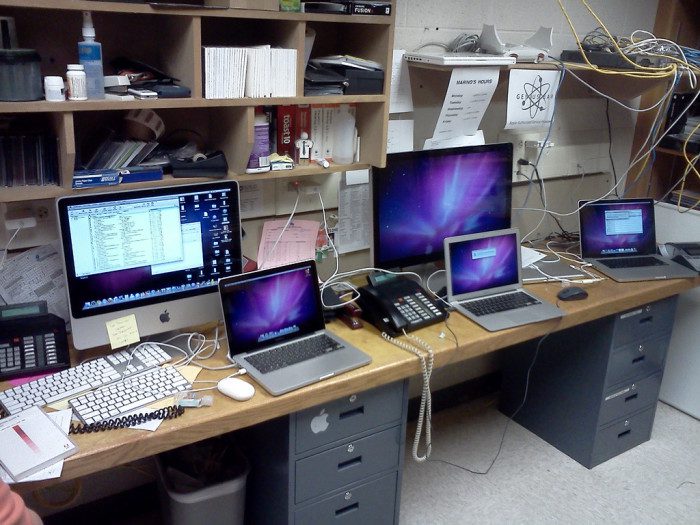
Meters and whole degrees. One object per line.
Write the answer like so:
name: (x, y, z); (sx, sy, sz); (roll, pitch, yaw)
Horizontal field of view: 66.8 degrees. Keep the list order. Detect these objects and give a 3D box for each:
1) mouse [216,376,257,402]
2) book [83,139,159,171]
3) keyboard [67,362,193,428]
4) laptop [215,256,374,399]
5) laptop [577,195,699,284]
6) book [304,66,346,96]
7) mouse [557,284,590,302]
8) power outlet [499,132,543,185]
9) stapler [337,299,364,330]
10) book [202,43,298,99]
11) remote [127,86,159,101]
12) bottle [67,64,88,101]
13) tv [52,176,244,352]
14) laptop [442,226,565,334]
mouse: (-0.371, 0.406, 1.731); (0.127, 0.043, 0.078); (13, 26, 26)
book: (-0.794, -0.370, 1.835); (0.133, 0.032, 0.139); (-9, 24, 9)
keyboard: (-0.695, 0.419, 1.695); (0.335, 0.023, 0.165); (-16, 29, -35)
laptop: (-0.186, 0.200, 1.843); (0.386, 0.279, 0.424); (17, 23, 42)
laptop: (1.411, -0.132, 2.744); (0.508, 0.364, 0.445); (-5, 22, -16)
book: (-0.108, -0.690, 2.033); (0.127, 0.050, 0.131); (-4, 47, -8)
mouse: (1.008, 0.137, 2.399); (0.118, 0.043, 0.068); (-1, 15, -20)
power outlet: (0.887, -0.551, 2.775); (0.278, 0.267, 0.143); (-11, 17, -34)
stapler: (-0.014, 0.201, 2.161); (0.049, 0.077, 0.167); (-11, 29, -27)
book: (-0.355, -0.676, 1.896); (0.346, 0.164, 0.038); (-9, 24, -22)
remote: (-0.690, -0.556, 1.756); (0.112, 0.033, 0.058); (16, 27, 32)
bottle: (-0.865, -0.563, 1.672); (0.062, 0.106, 0.064); (6, 22, -2)
tv: (-0.720, -0.003, 1.834); (0.547, 0.474, 0.130); (-11, 22, -30)
laptop: (0.646, 0.060, 2.202); (0.403, 0.288, 0.354); (-7, 16, -19)
